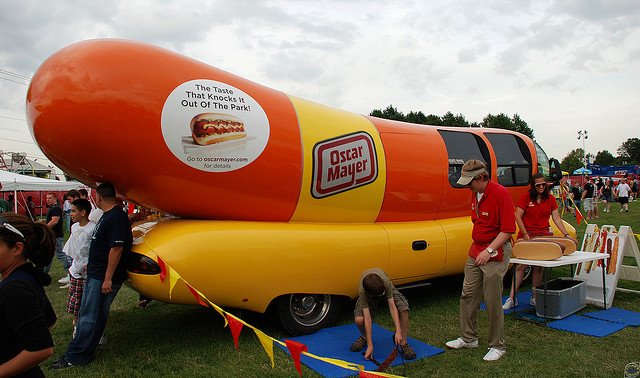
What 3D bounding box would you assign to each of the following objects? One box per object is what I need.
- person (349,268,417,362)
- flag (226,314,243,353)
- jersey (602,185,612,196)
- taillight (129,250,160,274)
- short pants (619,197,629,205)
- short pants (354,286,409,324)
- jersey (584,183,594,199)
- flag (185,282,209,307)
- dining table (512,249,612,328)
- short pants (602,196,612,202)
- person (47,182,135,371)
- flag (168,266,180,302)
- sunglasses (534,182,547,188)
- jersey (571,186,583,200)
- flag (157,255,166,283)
[{"bbox_3d":[1.004,2.013,5.851,0.954,1.415,0.870,-11,19,-11],"label":"person"},{"bbox_3d":[-1.127,1.914,4.863,0.124,0.485,0.268,-6,9,-34],"label":"flag"},{"bbox_3d":[16.242,0.082,20.710,0.610,0.550,0.211,-9,-11,-8],"label":"jersey"},{"bbox_3d":[-2.603,1.081,5.358,0.441,0.123,0.297,12,10,-4],"label":"taillight"},{"bbox_3d":[16.398,0.608,19.507,0.589,0.389,0.335,5,12,33],"label":"short pants"},{"bbox_3d":[0.976,1.834,5.781,0.867,0.263,0.785,-2,15,15],"label":"short pants"},{"bbox_3d":[12.094,0.058,16.299,0.341,0.659,0.474,4,9,35],"label":"jersey"},{"bbox_3d":[-1.776,1.543,5.285,0.046,0.426,0.140,-43,6,-25],"label":"flag"},{"bbox_3d":[4.840,1.970,6.938,0.987,0.857,1.957,-21,-18,38],"label":"dining table"},{"bbox_3d":[16.633,0.532,21.035,0.480,0.317,0.484,-1,1,33],"label":"short pants"},{"bbox_3d":[-3.301,1.213,5.374,1.059,2.622,0.409,-4,8,-22],"label":"person"},{"bbox_3d":[-2.117,1.369,5.260,0.265,0.543,0.103,5,10,41],"label":"flag"},{"bbox_3d":[4.298,-0.090,7.011,0.235,0.118,0.126,-1,7,-5],"label":"sunglasses"},{"bbox_3d":[11.514,0.193,16.262,0.656,0.569,0.359,1,13,10],"label":"jersey"},{"bbox_3d":[-2.274,1.155,5.261,0.137,0.384,0.037,4,9,34],"label":"flag"}]
